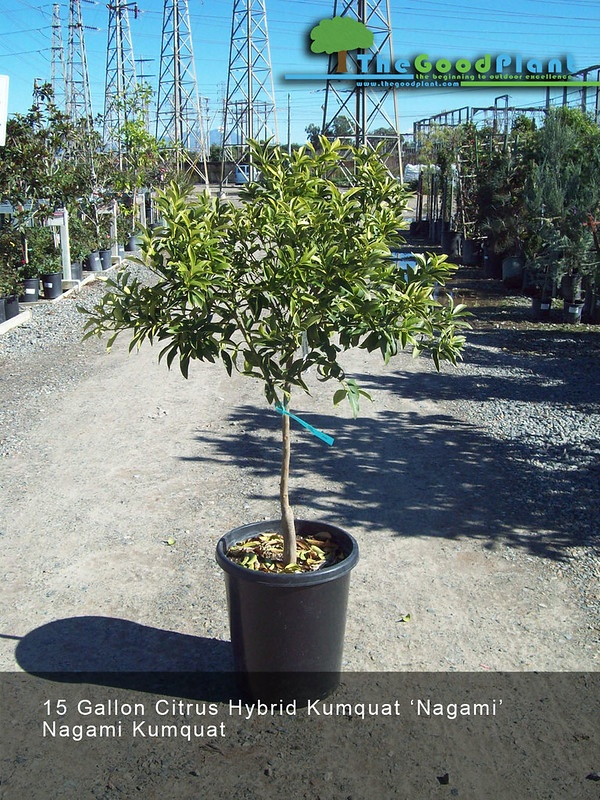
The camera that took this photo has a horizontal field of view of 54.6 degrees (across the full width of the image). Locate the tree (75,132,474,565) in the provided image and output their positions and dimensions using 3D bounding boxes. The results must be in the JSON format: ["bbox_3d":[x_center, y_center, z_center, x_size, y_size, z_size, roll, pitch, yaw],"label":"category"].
[{"bbox_3d":[-0.098,-0.182,2.407,1.370,1.515,0.880,-5,20,-21],"label":"tree"}]

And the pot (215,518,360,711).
[{"bbox_3d":[-0.046,0.914,2.573,0.623,0.598,0.647,1,6,0],"label":"pot"}]
